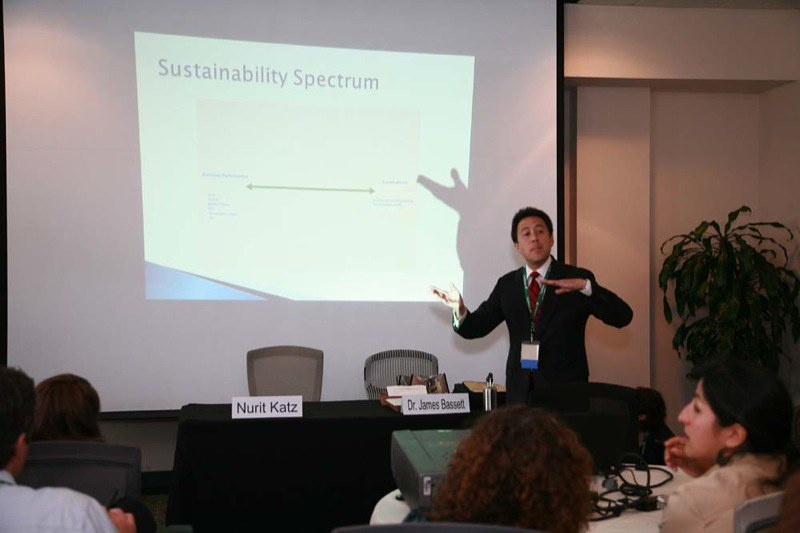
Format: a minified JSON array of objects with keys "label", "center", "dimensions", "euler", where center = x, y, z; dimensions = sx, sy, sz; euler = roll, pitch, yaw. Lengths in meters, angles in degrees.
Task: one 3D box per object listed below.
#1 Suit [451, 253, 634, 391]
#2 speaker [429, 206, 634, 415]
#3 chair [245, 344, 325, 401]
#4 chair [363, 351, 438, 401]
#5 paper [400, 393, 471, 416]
[{"label":"Suit","center":[0.913,0.468,4.326],"dimensions":[1.212,1.120,0.704],"euler":[-8,-12,36]},{"label":"speaker","center":[0.874,0.296,4.650],"dimensions":[1.041,1.677,0.597],"euler":[-13,-40,20]},{"label":"chair","center":[-0.808,0.802,4.868],"dimensions":[0.380,0.673,0.455],"euler":[0,-10,-1]},{"label":"chair","center":[-0.005,0.817,4.722],"dimensions":[0.364,0.546,0.382],"euler":[2,-15,-8]},{"label":"paper","center":[0.208,0.807,3.760],"dimensions":[0.383,0.141,0.117],"euler":[-1,-20,-5]}]
